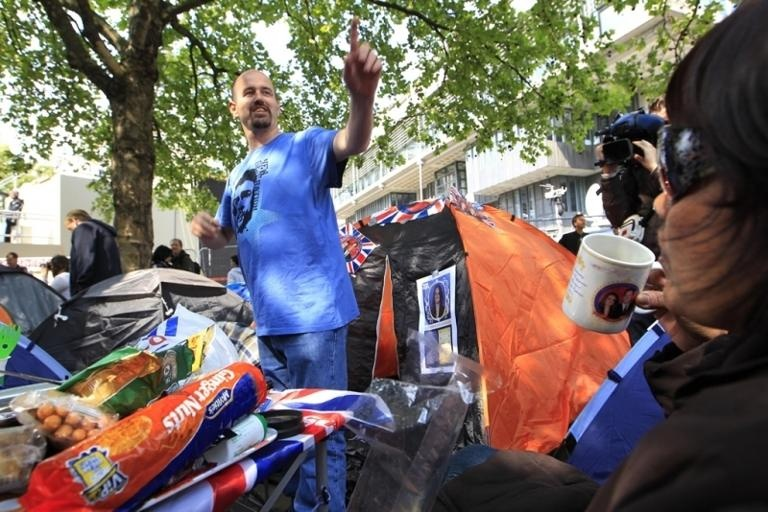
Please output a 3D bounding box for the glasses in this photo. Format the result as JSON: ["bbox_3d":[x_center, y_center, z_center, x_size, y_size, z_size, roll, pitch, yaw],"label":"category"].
[{"bbox_3d":[0.660,-0.201,1.222,0.162,0.163,0.123,-5,-13,-13],"label":"glasses"}]

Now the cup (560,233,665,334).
[{"bbox_3d":[0.828,0.103,2.069,0.249,0.283,0.292,6,20,-3],"label":"cup"}]

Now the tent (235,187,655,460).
[{"bbox_3d":[0.696,0.444,4.379,2.197,1.331,2.201,6,-16,-43],"label":"tent"}]

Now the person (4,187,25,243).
[{"bbox_3d":[-12.602,-1.343,18.588,0.488,1.919,1.073,0,-6,-35],"label":"person"}]

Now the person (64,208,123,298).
[{"bbox_3d":[-2.971,0.020,5.542,0.341,0.978,0.581,-11,-10,-14],"label":"person"}]
